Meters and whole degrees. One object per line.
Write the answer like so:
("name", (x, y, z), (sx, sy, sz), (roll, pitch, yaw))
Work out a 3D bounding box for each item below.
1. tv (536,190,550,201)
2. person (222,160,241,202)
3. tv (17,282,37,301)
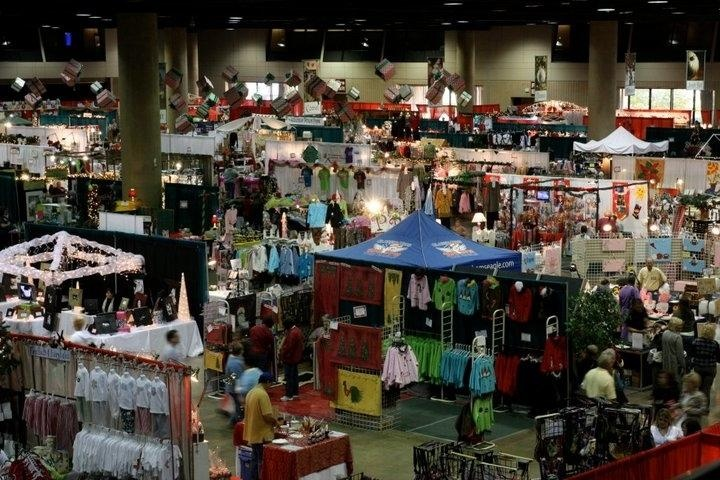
("tv", (4.657, -1.124, 18.401), (0.291, 0.247, 0.298), (3, 7, 23))
("person", (-4.168, -1.849, 23.342), (0.453, 0.963, 0.674), (-1, 7, -11))
("tv", (-6.014, 0.914, 13.074), (0.270, 0.252, 0.118), (5, 6, 34))
